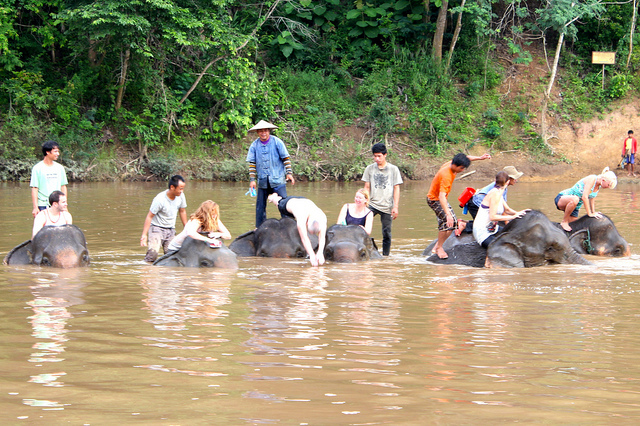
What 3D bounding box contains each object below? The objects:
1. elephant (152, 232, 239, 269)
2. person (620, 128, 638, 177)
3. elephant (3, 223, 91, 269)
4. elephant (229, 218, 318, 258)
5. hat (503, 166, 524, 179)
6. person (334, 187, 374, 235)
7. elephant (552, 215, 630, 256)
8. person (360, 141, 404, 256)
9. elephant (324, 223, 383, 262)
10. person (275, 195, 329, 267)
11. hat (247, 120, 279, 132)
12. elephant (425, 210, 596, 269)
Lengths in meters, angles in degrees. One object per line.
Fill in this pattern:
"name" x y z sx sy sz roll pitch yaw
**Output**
"elephant" -2.088 0.757 14.168 1.061 0.526 0.701 -9 -15 31
"person" 12.733 -2.415 33.167 0.613 1.902 1.017 6 15 19
"elephant" -4.645 0.579 14.044 1.334 0.634 0.648 4 14 15
"elephant" -0.865 0.523 15.309 1.069 0.529 1.003 3 -8 -21
"hat" 3.551 -0.734 14.822 0.351 0.125 0.380 2 9 44
"person" 0.637 0.084 15.623 0.862 1.077 0.719 10 5 1
"elephant" 5.312 0.439 15.846 1.375 0.773 0.804 21 15 23
"person" 1.068 -0.112 16.201 0.791 2.325 1.247 9 12 39
"elephant" 0.582 0.589 15.106 0.891 0.600 1.125 13 17 42
"person" -0.344 0.389 14.923 0.323 1.317 0.538 -15 -25 -20
"hat" -1.120 -1.779 16.696 0.538 0.135 0.504 -3 0 -18
"elephant" 3.360 0.469 14.671 2.926 1.028 0.979 -4 11 9
